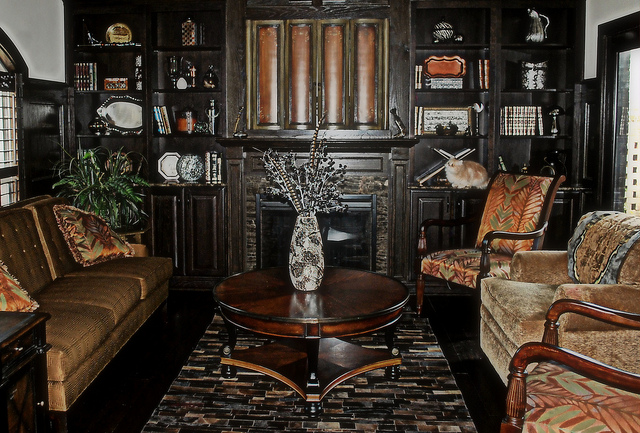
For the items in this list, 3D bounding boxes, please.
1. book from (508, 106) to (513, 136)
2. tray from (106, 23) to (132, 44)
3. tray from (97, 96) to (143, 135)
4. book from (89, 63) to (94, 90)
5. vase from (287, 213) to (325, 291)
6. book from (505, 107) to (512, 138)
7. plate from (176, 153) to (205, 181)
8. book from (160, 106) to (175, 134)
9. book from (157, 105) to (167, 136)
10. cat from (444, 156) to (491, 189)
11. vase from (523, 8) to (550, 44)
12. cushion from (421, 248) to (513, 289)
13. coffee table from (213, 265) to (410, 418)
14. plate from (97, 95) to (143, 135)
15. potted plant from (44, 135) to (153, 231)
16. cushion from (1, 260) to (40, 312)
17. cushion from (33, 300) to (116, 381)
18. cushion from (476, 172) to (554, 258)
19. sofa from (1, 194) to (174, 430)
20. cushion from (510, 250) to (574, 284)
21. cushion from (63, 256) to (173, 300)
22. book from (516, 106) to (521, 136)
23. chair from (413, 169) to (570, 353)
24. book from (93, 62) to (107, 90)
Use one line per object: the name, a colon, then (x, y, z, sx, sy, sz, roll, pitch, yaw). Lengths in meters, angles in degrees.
book: (2.097, -1.057, 5.432, 0.055, 0.295, 0.068, 1, 14, 4)
tray: (-2.303, -2.078, 5.612, 0.273, 0.229, 0.238, -5, 14, -22)
tray: (-2.277, -1.146, 5.569, 0.509, 0.416, 0.251, -2, 14, -11)
book: (-2.603, -1.591, 5.581, 0.050, 0.282, 0.075, -2, 14, -10)
vase: (-0.107, 0.255, 3.649, 0.238, 0.542, 0.214, -6, 15, -24)
book: (2.077, -1.053, 5.441, 0.053, 0.281, 0.089, -8, 16, -31)
plate: (-1.481, -0.562, 5.570, 0.295, 0.292, 0.125, 3, 1, -3)
book: (-1.735, -1.102, 5.610, 0.059, 0.255, 0.255, -5, 10, -5)
book: (-1.795, -1.089, 5.559, 0.097, 0.287, 0.029, 11, 17, 37)
cat: (1.737, -0.483, 5.486, 0.738, 0.321, 0.222, 0, 18, -15)
vase: (2.394, -2.097, 5.456, 0.264, 0.388, 0.332, 5, 14, 20)
cushion: (1.356, 0.406, 4.494, 0.436, 0.113, 0.467, -10, 15, -34)
coffee table: (-0.053, 0.908, 3.749, 1.385, 0.691, 1.360, 1, 5, 3)
plate: (-2.275, -1.191, 5.654, 0.506, 0.520, 0.062, -27, 58, -15)
potted plant: (-2.063, -0.296, 5.098, 0.741, 0.740, 0.710, 8, 27, 12)
cushion: (-1.917, 0.460, 3.111, 0.192, 0.266, 0.303, -8, 16, -32)
cushion: (-1.625, 0.769, 3.200, 0.397, 0.137, 0.567, 6, 11, 8)
cushion: (1.774, -0.035, 4.563, 0.303, 0.723, 0.604, -8, 16, -31)
sofa: (-1.705, 0.705, 3.578, 0.637, 0.728, 1.426, 3, 13, -7)
cushion: (1.860, 0.408, 4.029, 0.483, 0.180, 0.515, -2, -8, 30)
cushion: (-1.580, 0.585, 4.177, 1.004, 0.218, 0.721, 2, 18, -15)
book: (2.186, -1.057, 5.431, 0.042, 0.295, 0.068, 4, 14, 17)
chair: (1.532, 0.294, 4.531, 1.071, 1.372, 1.198, 8, 11, 42)
book: (-2.539, -1.611, 5.675, 0.131, 0.293, 0.267, -4, 14, -16)
